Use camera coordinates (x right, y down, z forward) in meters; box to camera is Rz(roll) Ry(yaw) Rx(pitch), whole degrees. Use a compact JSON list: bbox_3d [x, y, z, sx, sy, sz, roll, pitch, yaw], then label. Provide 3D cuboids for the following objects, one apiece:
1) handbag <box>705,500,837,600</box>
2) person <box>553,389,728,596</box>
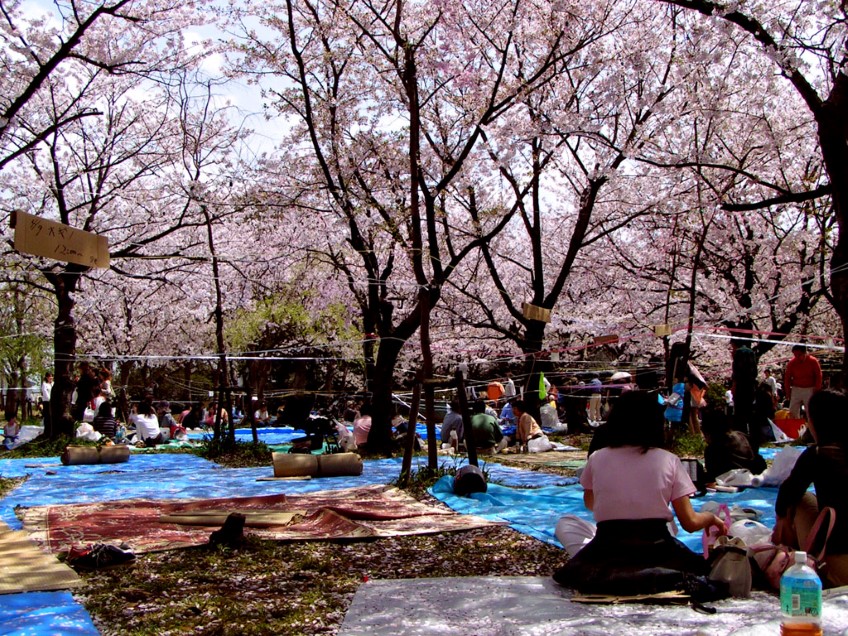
[{"bbox_3d":[2.455,1.686,4.633,0.801,0.706,0.557,23,-17,20],"label":"handbag"},{"bbox_3d":[1.448,1.228,4.536,0.956,1.396,0.352,-4,-6,20],"label":"person"}]
